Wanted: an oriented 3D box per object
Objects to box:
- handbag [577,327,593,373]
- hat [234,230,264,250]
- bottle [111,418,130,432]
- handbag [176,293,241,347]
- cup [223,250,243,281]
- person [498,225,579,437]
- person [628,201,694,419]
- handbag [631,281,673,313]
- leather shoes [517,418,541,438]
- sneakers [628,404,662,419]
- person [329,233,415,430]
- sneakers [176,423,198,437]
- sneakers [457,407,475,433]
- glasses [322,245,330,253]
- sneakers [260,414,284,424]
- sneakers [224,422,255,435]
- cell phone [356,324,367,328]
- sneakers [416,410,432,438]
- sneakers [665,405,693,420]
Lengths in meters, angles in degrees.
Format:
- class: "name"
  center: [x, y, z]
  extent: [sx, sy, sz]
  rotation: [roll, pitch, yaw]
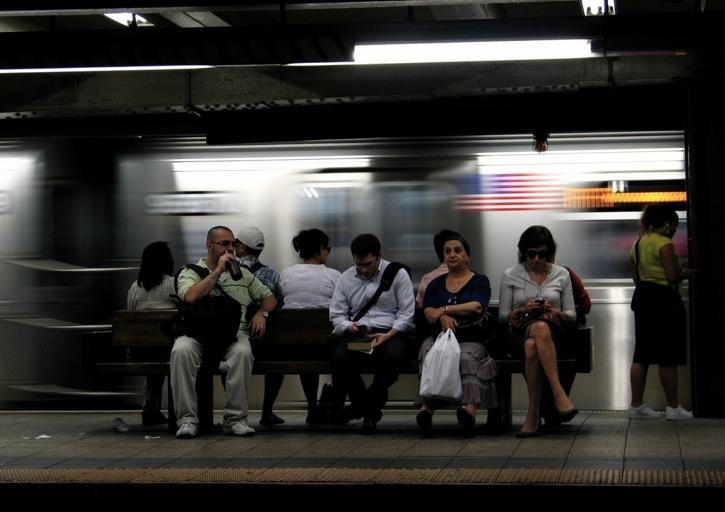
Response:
- class: "handbag"
  center: [2.276, 0.963, 8.576]
  extent: [0.152, 0.400, 0.435]
  rotation: [2, -8, -3]
- class: "hat"
  center: [-1.216, -0.215, 9.155]
  extent: [0.267, 0.141, 0.202]
  rotation: [26, 23, 33]
- class: "bottle"
  center: [-2.508, 1.753, 8.856]
  extent: [0.150, 0.053, 0.137]
  rotation: [9, 9, -1]
- class: "handbag"
  center: [-1.486, 0.639, 8.379]
  extent: [0.643, 0.523, 0.431]
  rotation: [0, -3, -7]
- class: "cup"
  center: [-1.291, 0.094, 8.442]
  extent: [0.142, 0.100, 0.334]
  rotation: [8, 37, -28]
- class: "person"
  center: [1.700, 0.706, 8.377]
  extent: [0.744, 2.016, 0.788]
  rotation: [-1, -1, 11]
- class: "person"
  center: [3.126, 0.575, 9.088]
  extent: [0.614, 2.274, 0.410]
  rotation: [-1, -1, 16]
- class: "handbag"
  center: [3.055, 0.435, 9.045]
  extent: [0.354, 0.238, 0.353]
  rotation: [-2, -7, 31]
- class: "leather shoes"
  center: [1.626, 1.674, 8.213]
  extent: [0.131, 0.139, 0.390]
  rotation: [-6, -11, 37]
- class: "sneakers"
  center: [2.989, 1.663, 9.089]
  extent: [0.359, 0.137, 0.137]
  rotation: [1, -5, 4]
- class: "person"
  center: [0.077, 0.760, 8.499]
  extent: [0.845, 1.960, 0.437]
  rotation: [-1, -1, 3]
- class: "sneakers"
  center: [-1.718, 1.702, 8.342]
  extent: [0.197, 0.162, 0.180]
  rotation: [-1, -1, -16]
- class: "sneakers"
  center: [0.986, 1.605, 8.167]
  extent: [0.114, 0.303, 0.126]
  rotation: [-4, 14, 27]
- class: "glasses"
  center: [-0.414, -0.084, 9.415]
  extent: [0.071, 0.067, 0.022]
  rotation: [8, 35, -8]
- class: "sneakers"
  center: [-0.976, 1.774, 9.237]
  extent: [0.234, 0.081, 0.113]
  rotation: [-1, 1, -11]
- class: "sneakers"
  center: [-1.211, 1.700, 8.440]
  extent: [0.343, 0.125, 0.126]
  rotation: [-3, 2, 30]
- class: "cell phone"
  center: [-0.002, 0.693, 8.444]
  extent: [0.056, 0.045, 0.120]
  rotation: [-1, -1, 32]
- class: "sneakers"
  center: [0.596, 1.594, 8.233]
  extent: [0.123, 0.293, 0.123]
  rotation: [-3, 4, 5]
- class: "sneakers"
  center: [3.281, 1.648, 8.962]
  extent: [0.314, 0.125, 0.119]
  rotation: [1, -3, 0]
